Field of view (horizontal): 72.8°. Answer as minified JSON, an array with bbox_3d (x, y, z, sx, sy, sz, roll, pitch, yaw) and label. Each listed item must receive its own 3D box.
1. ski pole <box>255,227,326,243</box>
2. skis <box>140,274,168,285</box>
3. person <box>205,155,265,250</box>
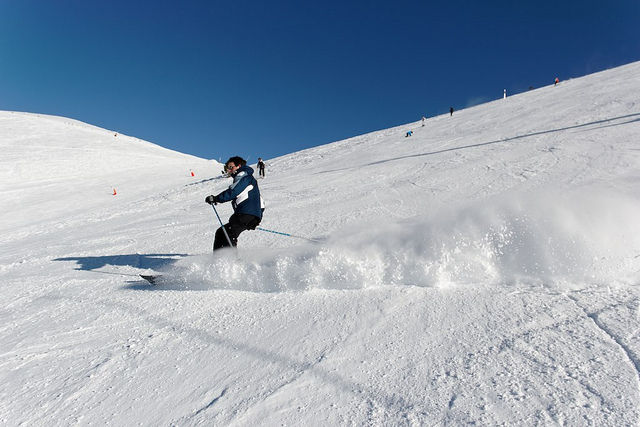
[{"bbox_3d":[-0.647,0.491,9.895,2.454,0.069,0.100,7,1,0],"label":"ski pole"},{"bbox_3d":[-3.040,1.205,8.041,0.387,0.163,0.292,-8,13,-5],"label":"skis"},{"bbox_3d":[-1.611,-0.231,8.317,0.968,1.778,0.901,-7,13,-4],"label":"person"}]
